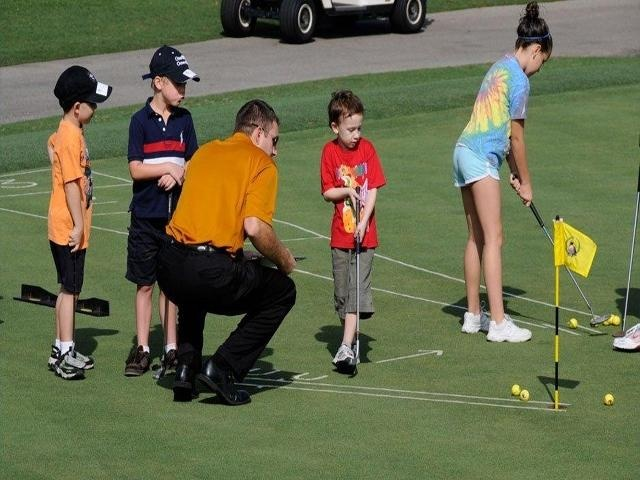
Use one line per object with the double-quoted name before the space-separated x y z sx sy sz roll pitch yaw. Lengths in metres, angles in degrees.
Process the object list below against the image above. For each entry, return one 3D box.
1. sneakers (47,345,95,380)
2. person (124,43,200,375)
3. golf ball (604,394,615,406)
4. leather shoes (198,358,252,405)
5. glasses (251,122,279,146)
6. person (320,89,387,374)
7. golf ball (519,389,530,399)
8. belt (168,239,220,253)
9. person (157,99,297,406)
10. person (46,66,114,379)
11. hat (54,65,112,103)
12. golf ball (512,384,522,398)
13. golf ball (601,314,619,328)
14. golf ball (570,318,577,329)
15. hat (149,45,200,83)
"sneakers" -2.197 1.090 12.106 0.343 0.180 0.275 11 38 20
"person" -1.395 -0.236 12.474 0.809 2.965 0.831 -6 11 -39
"golf ball" 2.424 1.353 11.531 0.067 0.091 0.057 -7 -16 11
"leather shoes" -0.806 1.252 11.706 0.525 0.257 0.186 41 -26 -26
"glasses" -0.454 -0.919 11.796 0.225 0.173 0.166 2 10 15
"person" 0.312 -0.107 12.301 0.647 2.335 0.720 -2 5 -23
"golf ball" 1.746 1.310 11.659 0.063 0.060 0.077 8 27 3
"belt" -1.082 0.047 11.566 0.459 0.118 0.085 1 11 18
"person" -0.793 0.115 11.881 1.031 2.708 1.055 3 6 34
"person" -2.147 -0.158 12.382 0.622 2.779 0.834 1 5 -10
"hat" -2.127 -1.430 12.312 0.548 0.279 0.375 -7 27 -4
"golf ball" 1.686 1.302 11.743 0.072 0.077 0.098 11 25 26
"golf ball" 2.734 0.754 12.867 0.123 0.058 0.094 -1 23 0
"golf ball" 2.381 0.783 12.890 0.065 0.064 0.081 -21 14 -35
"hat" -1.344 -1.588 12.291 0.474 0.274 0.281 5 16 16
